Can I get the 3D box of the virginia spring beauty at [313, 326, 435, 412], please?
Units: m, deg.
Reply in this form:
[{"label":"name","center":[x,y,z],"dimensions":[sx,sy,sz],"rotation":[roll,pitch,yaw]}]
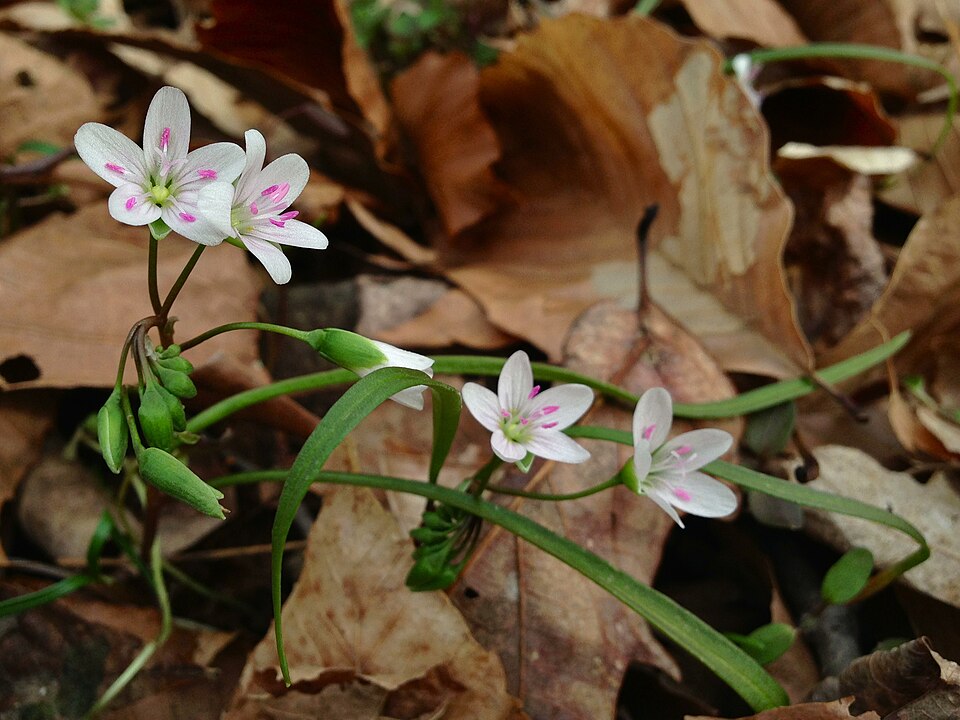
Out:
[{"label":"virginia spring beauty","center":[-0.205,-0.005,1.801],"dimensions":[0.208,0.090,0.127],"rotation":[28,58,-3]}]
